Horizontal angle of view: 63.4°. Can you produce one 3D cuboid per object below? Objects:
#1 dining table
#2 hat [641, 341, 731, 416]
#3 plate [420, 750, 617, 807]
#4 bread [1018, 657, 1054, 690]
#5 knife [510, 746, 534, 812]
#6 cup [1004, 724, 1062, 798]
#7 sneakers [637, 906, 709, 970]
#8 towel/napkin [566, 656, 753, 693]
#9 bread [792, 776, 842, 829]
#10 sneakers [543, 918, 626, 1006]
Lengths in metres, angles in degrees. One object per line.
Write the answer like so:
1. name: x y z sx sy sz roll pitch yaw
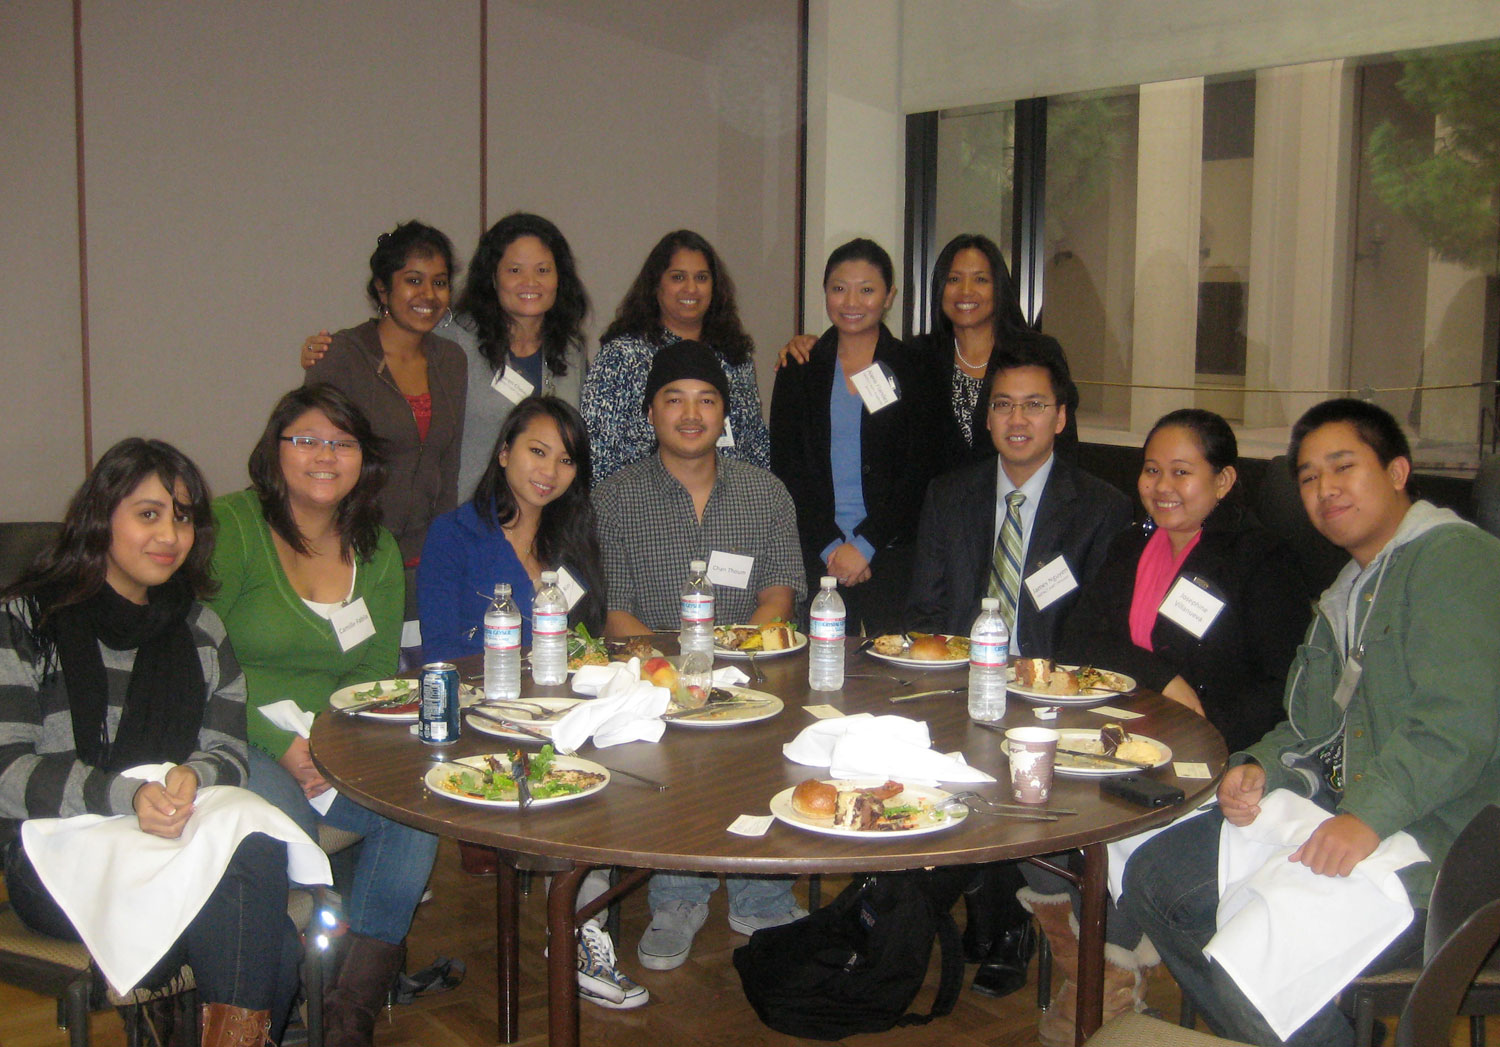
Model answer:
1. dining table: 0.090 0.919 3.025 2.219 0.799 1.176 -3 9 -17
2. hat: -0.228 -0.533 4.284 0.254 0.191 0.249 8 -27 -14
3. plate: -0.528 0.566 2.761 0.416 0.078 0.278 0 9 2
4. bread: 0.785 0.414 3.359 0.075 0.029 0.081 5 40 19
5. knife: -0.515 0.567 2.707 0.040 0.026 0.150 -2 27 -9
6. cup: 0.653 0.569 2.769 0.151 0.149 0.151 5 -15 1
7. sneakers: -0.254 1.363 3.991 0.112 0.112 0.291 2 -2 19
8. towel/napkin: -0.289 0.412 3.270 0.216 0.064 0.210 -2 2 -25
9. bread: 0.142 0.599 2.598 0.080 0.049 0.090 2 6 5
10. sneakers: -0.448 1.377 3.782 0.121 0.170 0.364 -6 4 -41
